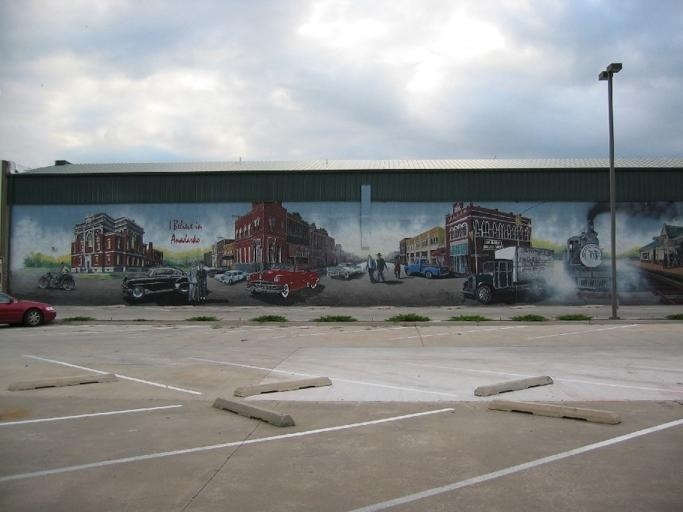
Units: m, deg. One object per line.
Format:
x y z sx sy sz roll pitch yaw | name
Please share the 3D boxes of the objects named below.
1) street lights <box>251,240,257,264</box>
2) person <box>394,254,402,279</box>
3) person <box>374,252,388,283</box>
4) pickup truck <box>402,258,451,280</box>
-4.792 -0.257 30.201 0.322 1.199 0.042 -2 -2 9 | street lights
3.064 0.623 29.583 0.388 1.247 0.188 -2 -2 3 | person
2.158 0.621 29.555 0.510 1.540 0.209 -2 -2 9 | person
4.532 0.697 29.605 1.917 0.790 1.104 4 0 23 | pickup truck
